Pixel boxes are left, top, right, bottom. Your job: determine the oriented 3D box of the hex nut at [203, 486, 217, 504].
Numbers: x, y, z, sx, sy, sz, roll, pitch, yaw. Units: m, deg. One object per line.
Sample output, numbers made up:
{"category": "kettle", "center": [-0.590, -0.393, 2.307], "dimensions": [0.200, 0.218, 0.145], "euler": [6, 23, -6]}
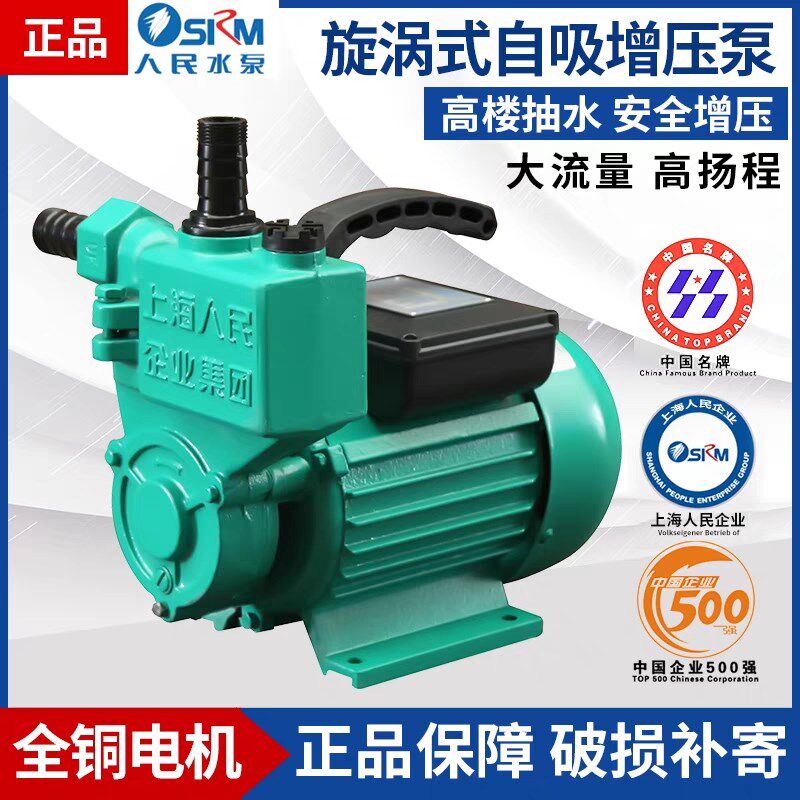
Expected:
{"category": "hex nut", "center": [-0.399, 0.200, 1.841], "dimensions": [0.040, 0.036, 0.020], "euler": [7, 8, 39]}
